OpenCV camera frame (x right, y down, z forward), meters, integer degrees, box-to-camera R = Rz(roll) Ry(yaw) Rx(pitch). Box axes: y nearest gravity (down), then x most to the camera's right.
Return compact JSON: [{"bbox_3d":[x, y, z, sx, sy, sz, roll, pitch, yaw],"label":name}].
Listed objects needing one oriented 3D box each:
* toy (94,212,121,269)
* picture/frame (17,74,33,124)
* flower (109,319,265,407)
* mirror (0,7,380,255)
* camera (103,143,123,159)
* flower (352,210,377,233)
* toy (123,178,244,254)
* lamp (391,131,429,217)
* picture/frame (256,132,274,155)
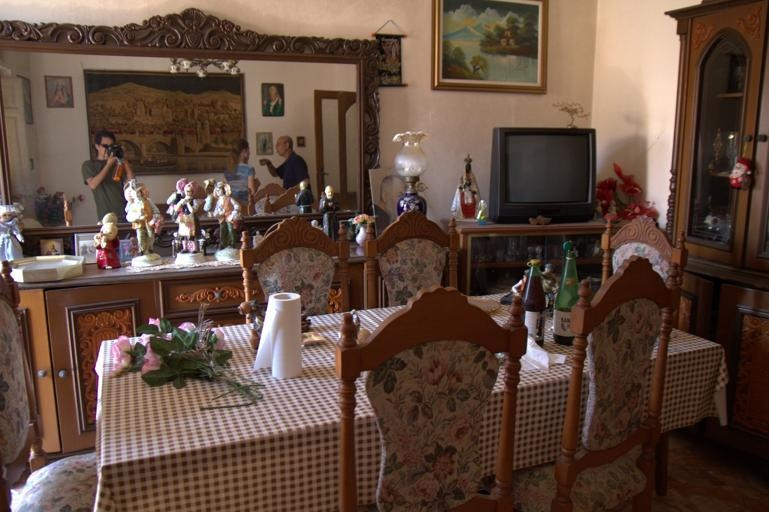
[{"bbox_3d":[-1.731,-0.103,3.618,0.153,0.320,0.281,-8,13,-25],"label":"toy"},{"bbox_3d":[-2.176,-0.947,3.540,0.067,0.293,0.033,-9,13,-29],"label":"picture/frame"},{"bbox_3d":[-0.757,0.438,2.404,0.525,0.235,0.377,17,12,14],"label":"flower"},{"bbox_3d":[-1.351,-0.817,3.745,1.707,1.117,0.040,-3,17,-15],"label":"mirror"},{"bbox_3d":[-1.728,-0.674,3.707,0.082,0.084,0.087,-4,8,-32],"label":"camera"},{"bbox_3d":[-0.139,-0.244,4.011,0.129,0.125,0.128,-11,15,-20],"label":"flower"},{"bbox_3d":[-1.325,-0.258,3.739,0.490,0.339,0.148,-2,4,-16],"label":"toy"},{"bbox_3d":[0.182,-0.593,4.138,0.221,0.575,0.446,-3,11,2],"label":"lamp"},{"bbox_3d":[-0.822,-0.770,3.968,0.155,0.209,0.014,1,19,-12],"label":"picture/frame"}]
